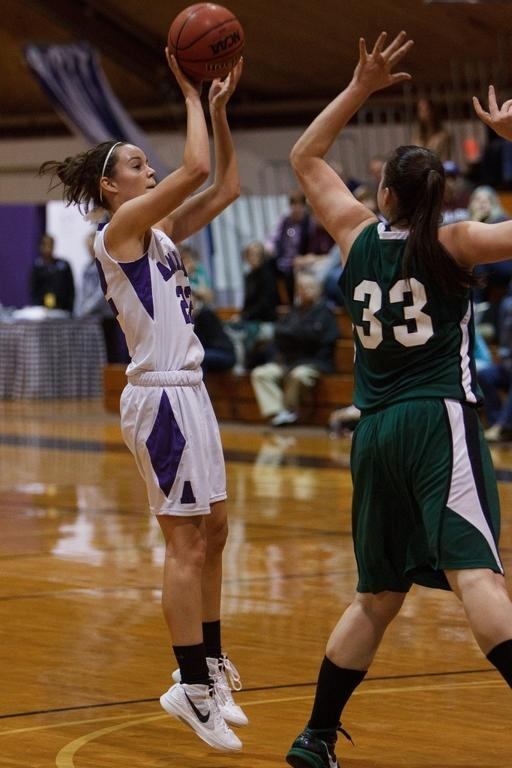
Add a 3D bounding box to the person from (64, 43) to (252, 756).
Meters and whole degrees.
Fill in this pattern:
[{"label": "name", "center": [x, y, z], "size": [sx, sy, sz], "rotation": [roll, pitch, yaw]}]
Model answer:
[{"label": "person", "center": [-0.273, 0.042, 1.868], "size": [0.493, 1.789, 0.703], "rotation": [0, 7, -4]}]
